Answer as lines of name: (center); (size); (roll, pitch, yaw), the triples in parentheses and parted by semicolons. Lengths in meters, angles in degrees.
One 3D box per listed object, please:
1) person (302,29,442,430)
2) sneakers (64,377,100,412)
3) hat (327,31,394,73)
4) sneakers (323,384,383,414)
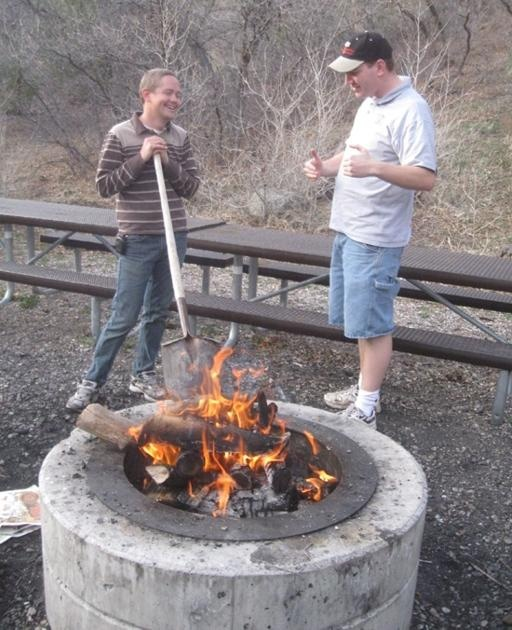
person: (0.533, -0.302, 3.255); (0.595, 2.101, 0.792); (3, 17, 3)
sneakers: (-0.980, 0.447, 3.850); (0.130, 0.162, 0.268); (35, 14, -8)
hat: (0.512, -1.253, 3.091); (0.288, 0.193, 0.261); (4, 16, 8)
sneakers: (0.587, 0.484, 3.896); (0.412, 0.156, 0.139); (-3, 27, 3)
